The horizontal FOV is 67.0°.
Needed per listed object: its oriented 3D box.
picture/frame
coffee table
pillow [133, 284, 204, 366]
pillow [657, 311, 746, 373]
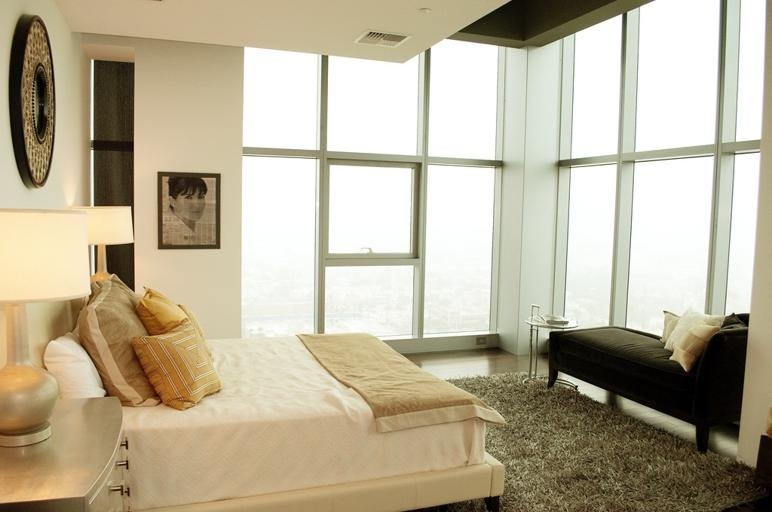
[{"bbox_3d":[-2.105,-0.495,6.124,0.918,1.168,0.085,0,5,-8],"label":"picture/frame"},{"bbox_3d":[1.785,1.026,6.802,0.802,1.024,0.827,-1,2,-4],"label":"coffee table"},{"bbox_3d":[-1.689,0.431,4.456,0.338,0.291,0.696,21,0,1],"label":"pillow"},{"bbox_3d":[2.874,0.764,5.416,0.176,0.500,0.576,32,-10,-18],"label":"pillow"}]
